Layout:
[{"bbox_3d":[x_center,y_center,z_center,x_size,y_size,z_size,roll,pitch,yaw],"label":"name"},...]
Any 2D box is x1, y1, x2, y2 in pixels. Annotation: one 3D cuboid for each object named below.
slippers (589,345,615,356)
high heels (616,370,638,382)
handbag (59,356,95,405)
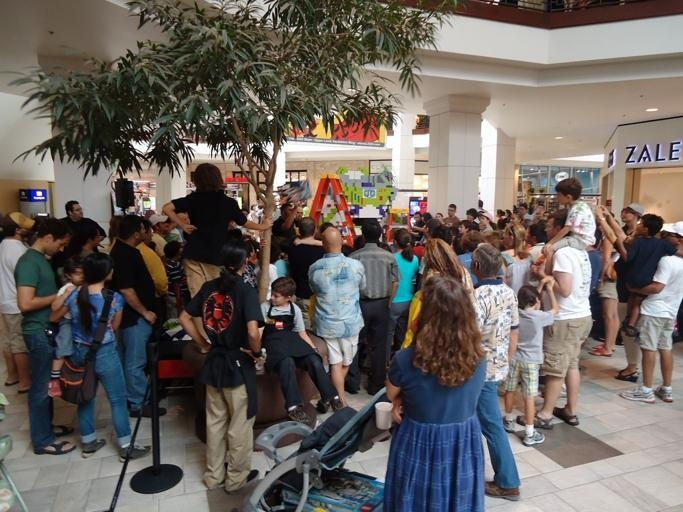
[{"bbox_3d":[3.774,1.368,6.799,0.328,0.119,0.184,1,3,28],"label":"slippers"},{"bbox_3d":[3.616,1.523,6.020,0.296,0.114,0.109,3,2,20],"label":"high heels"},{"bbox_3d":[-2.342,1.108,4.158,0.269,0.361,0.134,-2,9,-8],"label":"handbag"}]
